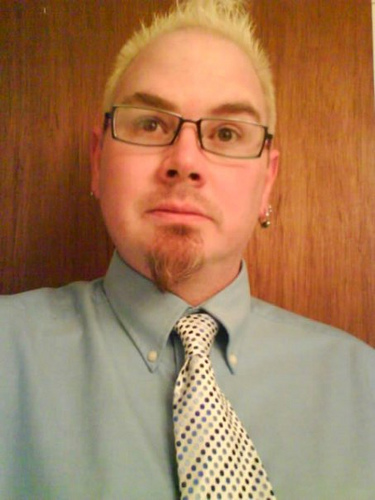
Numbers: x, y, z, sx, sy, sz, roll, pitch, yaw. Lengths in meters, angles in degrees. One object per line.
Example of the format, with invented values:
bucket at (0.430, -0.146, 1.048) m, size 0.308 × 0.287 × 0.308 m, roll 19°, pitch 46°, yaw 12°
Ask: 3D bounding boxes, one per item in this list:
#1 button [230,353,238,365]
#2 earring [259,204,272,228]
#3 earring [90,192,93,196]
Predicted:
button at (0.091, 0.210, 0.992) m, size 0.011 × 0.019 × 0.017 m, roll -7°, pitch -9°, yaw 35°
earring at (0.213, -0.086, 1.327) m, size 0.049 × 0.057 × 0.032 m, roll -1°, pitch -5°, yaw 36°
earring at (-0.248, -0.143, 1.324) m, size 0.007 × 0.009 × 0.010 m, roll -1°, pitch 21°, yaw -3°
